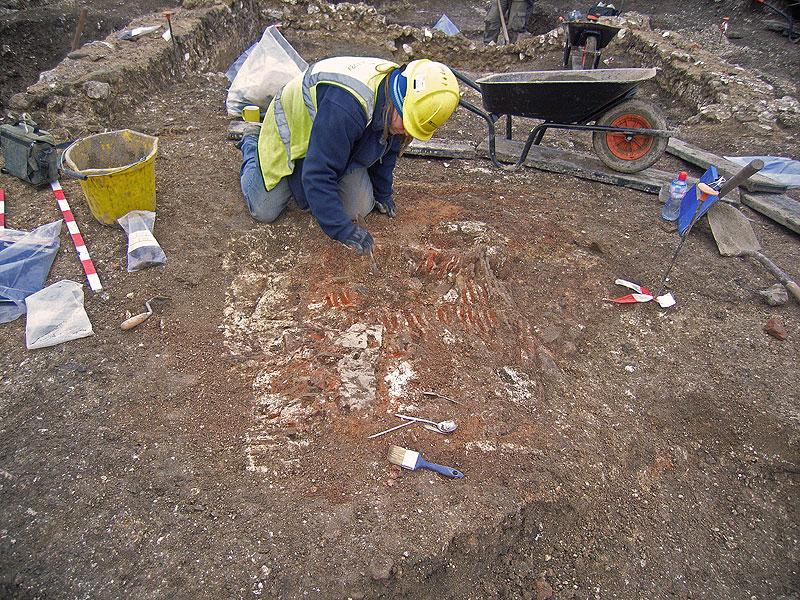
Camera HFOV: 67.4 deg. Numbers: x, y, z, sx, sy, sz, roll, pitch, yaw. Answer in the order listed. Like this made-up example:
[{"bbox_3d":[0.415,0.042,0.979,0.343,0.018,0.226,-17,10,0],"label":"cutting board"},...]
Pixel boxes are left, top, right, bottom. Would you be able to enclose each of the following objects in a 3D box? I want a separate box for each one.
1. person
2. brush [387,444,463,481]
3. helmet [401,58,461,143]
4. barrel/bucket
[{"bbox_3d":[-0.423,-0.971,4.082,1.547,1.288,0.795,6,44,4],"label":"person"},{"bbox_3d":[0.144,0.923,3.394,0.438,0.087,0.098,11,45,9],"label":"brush"},{"bbox_3d":[0.164,-1.248,3.711,0.313,0.501,0.282,28,37,34],"label":"helmet"},{"bbox_3d":[-2.076,-0.910,4.390,0.637,0.513,0.618,1,44,-1],"label":"barrel/bucket"}]
